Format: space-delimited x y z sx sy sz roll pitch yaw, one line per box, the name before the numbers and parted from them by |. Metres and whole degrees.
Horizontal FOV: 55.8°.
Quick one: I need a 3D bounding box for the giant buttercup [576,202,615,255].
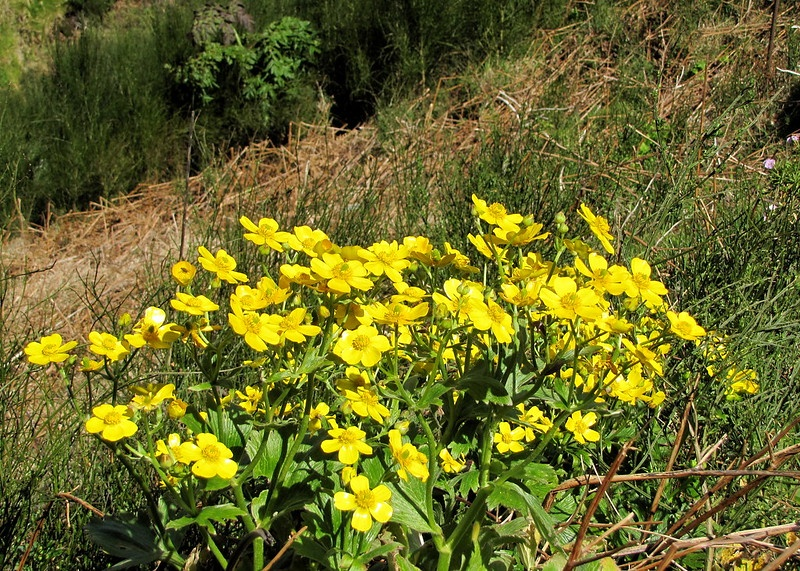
giant buttercup | 0.622 -0.184 2.381 0.058 0.171 0.165 -30 8 8
